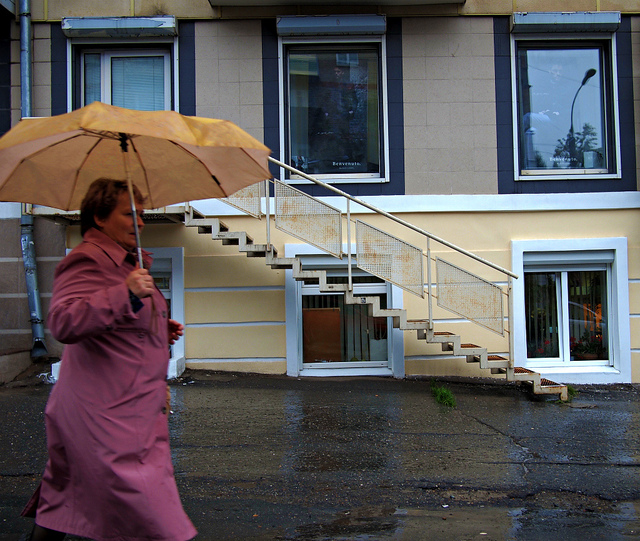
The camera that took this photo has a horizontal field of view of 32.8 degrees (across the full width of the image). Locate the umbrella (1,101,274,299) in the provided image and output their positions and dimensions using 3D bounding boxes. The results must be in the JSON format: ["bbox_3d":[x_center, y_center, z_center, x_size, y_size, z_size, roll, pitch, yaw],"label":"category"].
[{"bbox_3d":[-2.000,-1.129,11.103,2.190,1.396,2.227,-5,-5,-4],"label":"umbrella"}]
